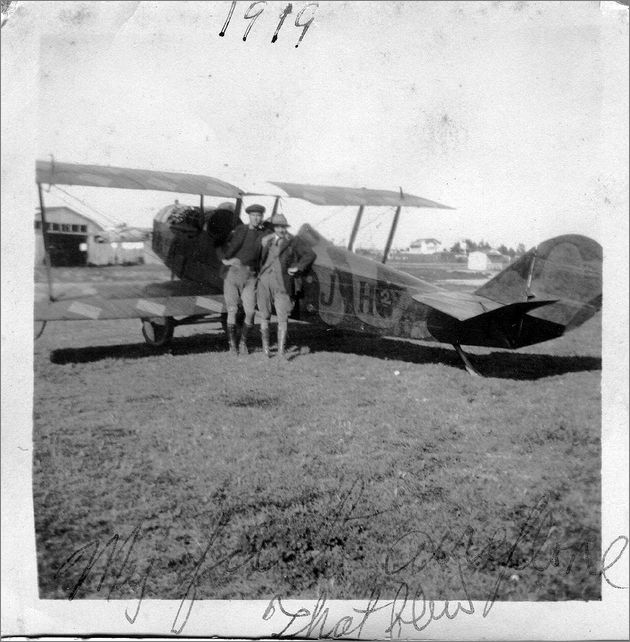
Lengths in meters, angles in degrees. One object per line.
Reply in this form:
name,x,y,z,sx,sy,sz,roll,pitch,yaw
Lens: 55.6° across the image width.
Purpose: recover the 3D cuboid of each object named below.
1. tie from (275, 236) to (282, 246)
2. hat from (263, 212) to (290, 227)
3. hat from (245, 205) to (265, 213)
tie,-0.279,-0.611,4.542,0.047,0.061,0.019,5,-2,31
hat,-0.260,-0.740,4.384,0.126,0.098,0.127,3,6,5
hat,-0.445,-0.830,4.397,0.177,0.060,0.104,4,6,15
